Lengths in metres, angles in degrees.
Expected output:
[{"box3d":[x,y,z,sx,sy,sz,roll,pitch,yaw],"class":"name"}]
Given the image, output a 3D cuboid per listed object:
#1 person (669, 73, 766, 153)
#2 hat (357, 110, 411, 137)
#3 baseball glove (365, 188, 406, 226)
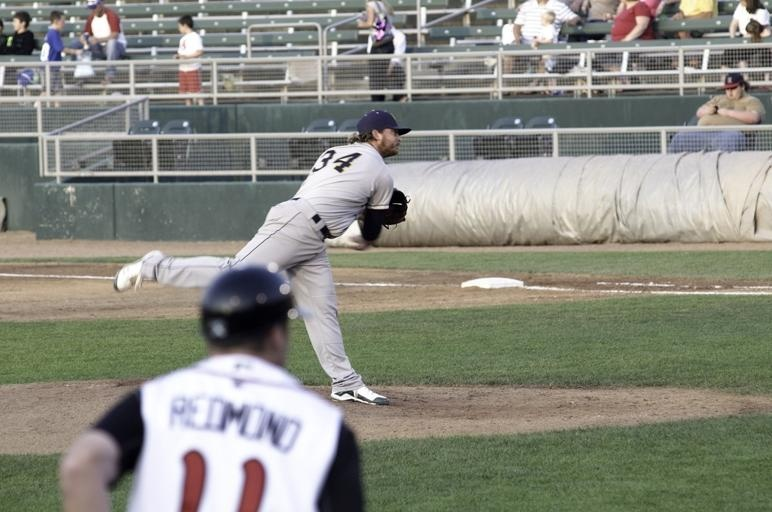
[{"box3d":[6.635,-2.885,37.124,1.675,1.526,1.126,0,6,11],"class":"person"},{"box3d":[-0.098,-2.048,28.374,0.673,0.310,0.393,-7,5,-1],"class":"hat"},{"box3d":[-0.029,-0.707,28.413,0.257,0.618,0.469,12,14,28],"class":"baseball glove"}]
